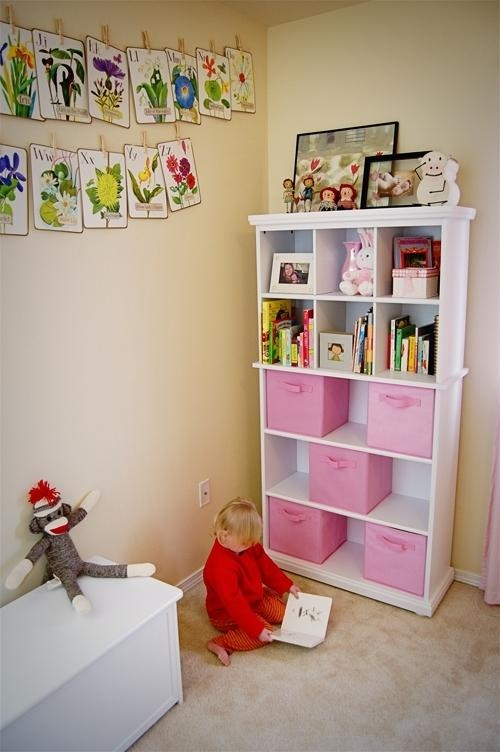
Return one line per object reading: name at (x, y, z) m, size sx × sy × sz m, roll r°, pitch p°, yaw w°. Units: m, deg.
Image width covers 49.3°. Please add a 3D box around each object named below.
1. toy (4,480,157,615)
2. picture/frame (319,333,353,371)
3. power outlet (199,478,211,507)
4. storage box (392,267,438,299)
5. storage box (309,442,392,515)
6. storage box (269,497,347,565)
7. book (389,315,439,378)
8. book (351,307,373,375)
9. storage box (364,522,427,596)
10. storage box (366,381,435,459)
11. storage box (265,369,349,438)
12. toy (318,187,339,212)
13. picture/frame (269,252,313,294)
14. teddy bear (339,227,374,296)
toy at (-0.421, 0.444, 1.343) m, size 0.263 × 0.261 × 0.315 m, roll 2°, pitch 12°, yaw 30°
picture/frame at (0.291, -0.083, 1.831) m, size 0.103 × 0.107 × 0.038 m, roll 5°, pitch 12°, yaw 34°
power outlet at (-0.169, 0.427, 1.993) m, size 0.011 × 0.116 × 0.094 m, roll 3°, pitch 10°, yaw 23°
storage box at (0.489, -0.271, 1.649) m, size 0.103 × 0.073 × 0.106 m, roll 8°, pitch 11°, yaw 40°
storage box at (0.368, 0.334, 1.976) m, size 0.229 × 0.245 × 0.239 m, roll 3°, pitch 6°, yaw 33°
storage box at (0.233, 0.553, 2.155) m, size 0.228 × 0.251 × 0.236 m, roll 6°, pitch 9°, yaw 33°
book at (0.550, -0.100, 1.768) m, size 0.190 × 0.176 × 0.202 m, roll 6°, pitch 11°, yaw 41°
book at (0.360, -0.104, 1.752) m, size 0.021 × 0.196 × 0.085 m, roll -6°, pitch 9°, yaw -32°
storage box at (0.511, 0.596, 1.880) m, size 0.186 × 0.205 × 0.196 m, roll 3°, pitch 4°, yaw 33°
storage box at (0.514, 0.122, 1.814) m, size 0.259 × 0.232 × 0.282 m, roll -1°, pitch 13°, yaw 6°
storage box at (0.216, 0.068, 2.067) m, size 0.235 × 0.258 × 0.249 m, roll 4°, pitch 7°, yaw 30°
toy at (0.263, -0.597, 1.844) m, size 0.060 × 0.092 × 0.143 m, roll 0°, pitch 9°, yaw 9°
picture/frame at (0.143, -0.353, 1.889) m, size 0.132 × 0.124 × 0.006 m, roll 17°, pitch 15°, yaw 37°
teddy bear at (0.343, -0.367, 1.776) m, size 0.082 × 0.212 × 0.160 m, roll -3°, pitch 8°, yaw -8°
